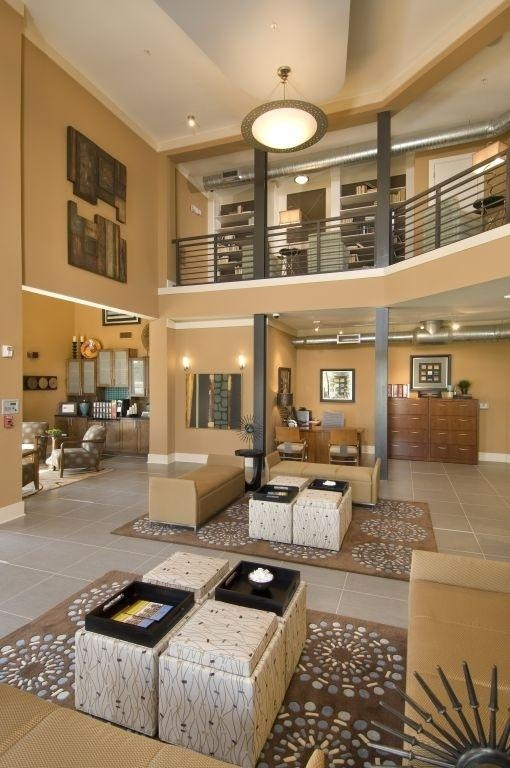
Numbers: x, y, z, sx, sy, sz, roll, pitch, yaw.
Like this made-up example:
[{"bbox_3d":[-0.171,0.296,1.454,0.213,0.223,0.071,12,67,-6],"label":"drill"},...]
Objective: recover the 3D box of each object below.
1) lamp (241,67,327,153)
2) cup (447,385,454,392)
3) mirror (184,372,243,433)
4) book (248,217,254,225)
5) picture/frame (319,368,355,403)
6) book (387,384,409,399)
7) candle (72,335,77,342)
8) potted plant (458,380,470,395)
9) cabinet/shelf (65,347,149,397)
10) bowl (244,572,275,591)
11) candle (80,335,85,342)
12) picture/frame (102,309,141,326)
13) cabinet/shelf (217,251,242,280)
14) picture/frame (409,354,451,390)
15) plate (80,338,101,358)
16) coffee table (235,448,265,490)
[{"bbox_3d":[0.288,-2.934,5.279,0.883,0.783,0.925,1,-5,-8],"label":"lamp"},{"bbox_3d":[3.668,0.095,9.528,0.099,0.178,0.106,2,0,0],"label":"cup"},{"bbox_3d":[-0.705,0.325,8.953,0.904,1.037,0.075,1,0,21],"label":"mirror"},{"bbox_3d":[-0.111,-3.338,10.463,0.065,0.157,0.459,2,1,-9],"label":"book"},{"bbox_3d":[1.754,0.026,10.730,0.600,0.745,0.048,2,0,27],"label":"picture/frame"},{"bbox_3d":[2.822,0.126,9.988,0.406,0.236,0.262,2,1,17],"label":"book"},{"bbox_3d":[-4.090,-1.026,11.429,0.110,0.202,0.112,1,-2,-42],"label":"candle"},{"bbox_3d":[3.832,0.066,9.371,0.221,0.281,0.234,1,-2,9],"label":"potted plant"},{"bbox_3d":[-3.170,-0.242,10.778,2.250,0.995,0.518,3,1,36],"label":"cabinet/shelf"},{"bbox_3d":[0.016,1.060,2.754,0.099,0.062,0.099,0,-5,0],"label":"bowl"},{"bbox_3d":[-3.918,-1.019,11.421,0.103,0.226,0.106,2,-1,-20],"label":"candle"},{"bbox_3d":[-2.981,-1.447,11.131,0.995,0.353,0.193,3,1,29],"label":"picture/frame"},{"bbox_3d":[-0.512,-2.332,10.045,0.444,0.411,1.041,2,1,-4],"label":"cabinet/shelf"},{"bbox_3d":[3.412,-0.241,9.815,0.589,0.697,0.052,3,2,29],"label":"picture/frame"},{"bbox_3d":[-3.668,-0.803,11.143,0.436,0.521,0.131,1,-11,13],"label":"plate"},{"bbox_3d":[-0.071,1.254,7.338,0.470,0.688,0.488,2,2,34],"label":"coffee table"}]
